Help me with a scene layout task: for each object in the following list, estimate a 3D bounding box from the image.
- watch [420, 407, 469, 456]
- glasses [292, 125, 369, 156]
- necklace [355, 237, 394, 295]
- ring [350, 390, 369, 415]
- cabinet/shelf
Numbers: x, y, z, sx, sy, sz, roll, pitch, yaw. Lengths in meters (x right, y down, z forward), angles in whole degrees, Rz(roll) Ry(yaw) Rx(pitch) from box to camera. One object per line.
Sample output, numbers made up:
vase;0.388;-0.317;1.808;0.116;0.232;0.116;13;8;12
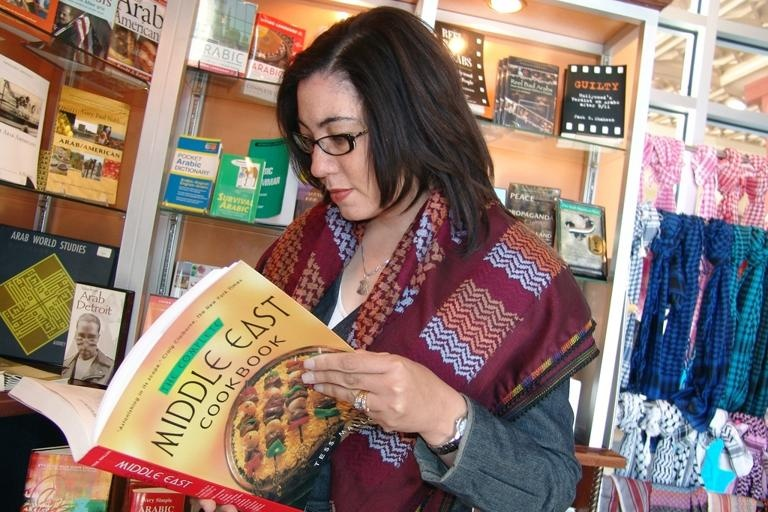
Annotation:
watch;0.160;0.452;1.560;0.030;0.105;0.103;38;28;-2
glasses;-0.155;-0.346;1.821;0.142;0.047;0.148;7;28;32
necklace;-0.048;0.037;1.900;0.122;0.138;0.029;14;-18;15
ring;-0.059;0.373;1.493;0.027;0.060;0.044;0;-34;-4
cabinet/shelf;-0.219;-0.079;2.011;1.592;1.607;0.494;11;-17;8
